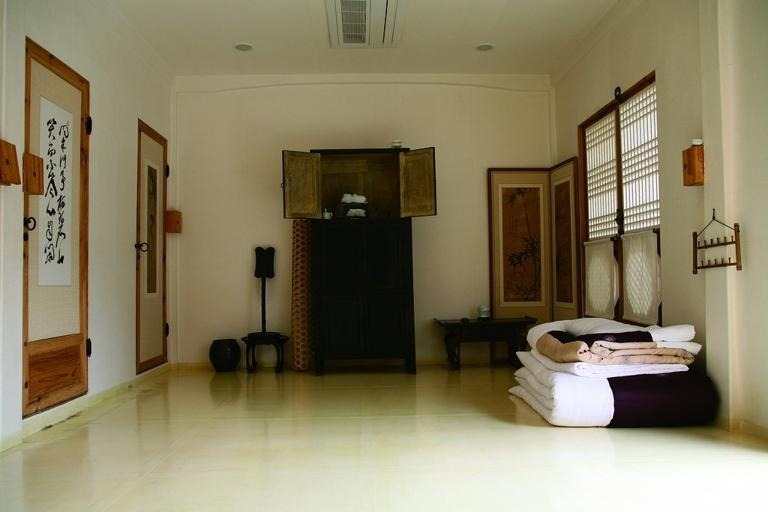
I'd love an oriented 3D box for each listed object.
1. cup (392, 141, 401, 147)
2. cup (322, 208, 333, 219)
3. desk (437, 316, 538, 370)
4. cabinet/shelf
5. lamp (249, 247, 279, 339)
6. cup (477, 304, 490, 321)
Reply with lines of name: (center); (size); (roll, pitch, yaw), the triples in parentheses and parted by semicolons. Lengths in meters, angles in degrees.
cup: (0.160, -1.425, 7.046); (0.115, 0.080, 0.122); (0, -3, 0)
cup: (-0.729, -0.546, 7.156); (0.098, 0.110, 0.159); (-2, -3, 28)
desk: (1.267, 1.077, 7.005); (1.165, 0.639, 0.526); (-1, 5, -3)
cabinet/shelf: (-0.271, 0.023, 6.955); (1.786, 2.751, 0.871); (-1, 5, 1)
lamp: (-1.510, 0.425, 7.114); (0.275, 1.094, 0.341); (-2, 5, -11)
cup: (1.252, 0.728, 7.015); (0.163, 0.178, 0.166); (-2, 0, 0)
